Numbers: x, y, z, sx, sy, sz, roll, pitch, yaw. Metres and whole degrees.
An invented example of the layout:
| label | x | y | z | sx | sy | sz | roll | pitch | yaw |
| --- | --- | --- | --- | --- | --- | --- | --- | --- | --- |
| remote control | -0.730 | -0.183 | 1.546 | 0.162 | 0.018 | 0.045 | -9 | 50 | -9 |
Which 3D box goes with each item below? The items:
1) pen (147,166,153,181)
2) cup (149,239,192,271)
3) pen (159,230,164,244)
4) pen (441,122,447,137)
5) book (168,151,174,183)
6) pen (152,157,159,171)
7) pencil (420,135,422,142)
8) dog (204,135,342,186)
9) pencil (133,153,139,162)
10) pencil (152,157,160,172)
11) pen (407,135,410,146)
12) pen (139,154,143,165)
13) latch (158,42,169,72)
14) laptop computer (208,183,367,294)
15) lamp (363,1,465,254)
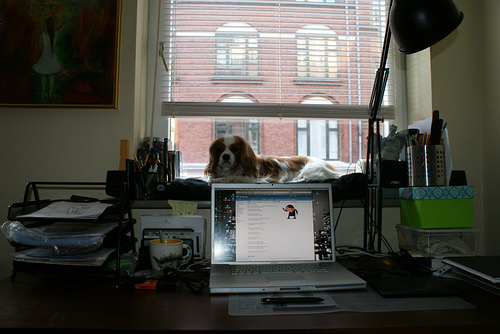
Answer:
| label | x | y | z | sx | sy | sz | roll | pitch | yaw |
| --- | --- | --- | --- | --- | --- | --- | --- | --- | --- |
| pen | -0.485 | 0.036 | 2.147 | 0.013 | 0.055 | 0.015 | 10 | -29 | 13 |
| cup | -0.355 | 0.381 | 1.917 | 0.202 | 0.144 | 0.154 | 2 | -6 | -31 |
| pen | -0.378 | 0.291 | 1.879 | 0.013 | 0.055 | 0.010 | -4 | 12 | 12 |
| pen | 0.880 | -0.168 | 2.025 | 0.010 | 0.069 | 0.013 | 29 | -9 | -40 |
| book | -0.412 | -0.006 | 2.274 | 0.022 | 0.151 | 0.038 | 1 | -2 | -11 |
| pen | -0.469 | -0.014 | 2.180 | 0.014 | 0.070 | 0.009 | 27 | -10 | 29 |
| pencil | 0.785 | -0.136 | 2.039 | 0.011 | 0.018 | 0.011 | -1 | -27 | 20 |
| dog | 0.087 | 0.031 | 2.275 | 0.457 | 0.159 | 0.345 | 2 | -10 | -20 |
| pencil | -0.564 | -0.046 | 2.181 | 0.008 | 0.010 | 0.050 | -2 | -48 | 14 |
| pencil | -0.468 | -0.011 | 2.180 | 0.013 | 0.077 | 0.009 | 28 | -26 | -2 |
| pen | 0.730 | -0.124 | 2.052 | 0.007 | 0.054 | 0.008 | -15 | -11 | 18 |
| pen | -0.550 | -0.048 | 2.218 | 0.009 | 0.012 | 0.038 | 0 | -46 | 8 |
| latch | -0.486 | -0.611 | 2.479 | 0.061 | 0.162 | 0.041 | 1 | -2 | -14 |
| laptop computer | 0.113 | 0.254 | 1.736 | 0.555 | 0.336 | 0.391 | 0 | 2 | -8 |
| lamp | 0.697 | -0.171 | 2.072 | 0.290 | 1.148 | 0.486 | 1 | -2 | -28 |
